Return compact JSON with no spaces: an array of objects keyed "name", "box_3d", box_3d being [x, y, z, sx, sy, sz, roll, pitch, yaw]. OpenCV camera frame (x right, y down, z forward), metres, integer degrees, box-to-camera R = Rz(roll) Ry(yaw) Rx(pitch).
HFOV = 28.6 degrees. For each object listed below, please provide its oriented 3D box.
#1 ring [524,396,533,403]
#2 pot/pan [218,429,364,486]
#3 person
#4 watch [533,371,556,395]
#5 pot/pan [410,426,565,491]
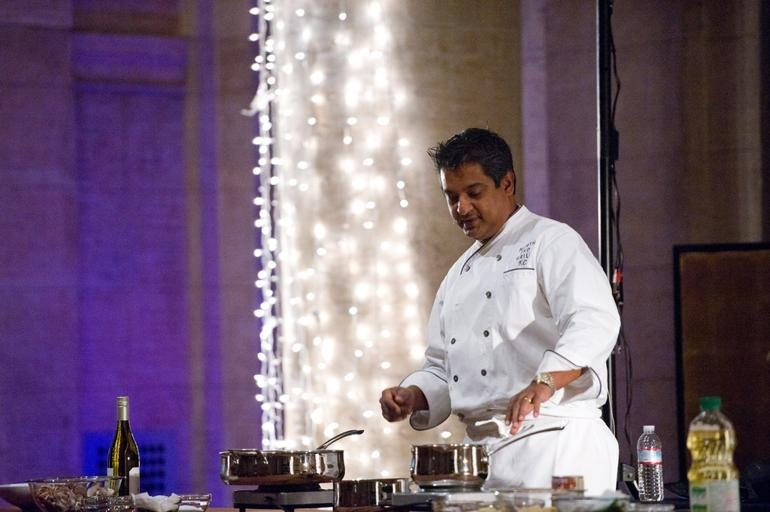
[{"name":"ring","box_3d":[0.646,0.636,6.839,0.032,0.029,0.008,-1,2,1]},{"name":"pot/pan","box_3d":[-0.481,0.958,7.081,0.480,0.166,0.318,1,-12,-4]},{"name":"person","box_3d":[0.562,0.249,7.260,1.097,1.772,0.682,-6,-9,11]},{"name":"watch","box_3d":[0.732,0.556,6.902,0.078,0.100,0.091,-15,-1,21]},{"name":"pot/pan","box_3d":[0.423,0.896,6.808,0.577,0.239,0.299,-1,-12,10]}]
